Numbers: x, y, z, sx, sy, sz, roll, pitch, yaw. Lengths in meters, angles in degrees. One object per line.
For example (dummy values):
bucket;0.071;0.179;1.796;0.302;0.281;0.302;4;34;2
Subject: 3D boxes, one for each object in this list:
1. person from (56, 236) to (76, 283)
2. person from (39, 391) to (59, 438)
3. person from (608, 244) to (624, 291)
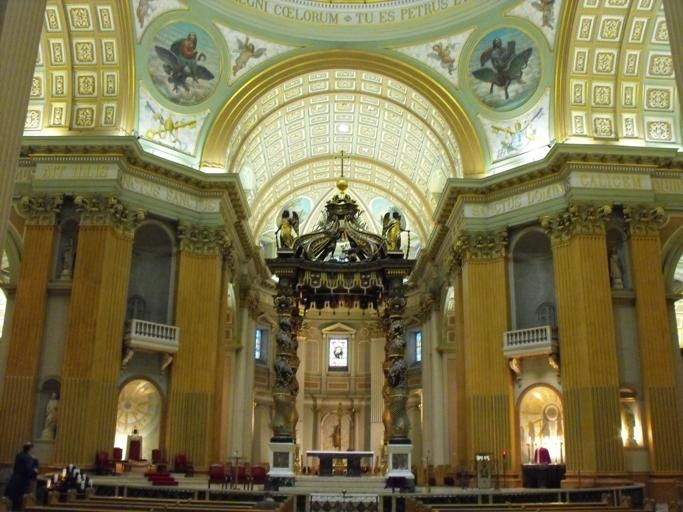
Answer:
person;-8.976;0.185;20.391;0.469;1.652;0.451;4;-43;-10
person;-8.896;4.873;19.136;0.543;1.400;0.413;1;-23;-2
person;9.084;0.383;20.762;0.528;1.589;0.258;14;-26;-29
